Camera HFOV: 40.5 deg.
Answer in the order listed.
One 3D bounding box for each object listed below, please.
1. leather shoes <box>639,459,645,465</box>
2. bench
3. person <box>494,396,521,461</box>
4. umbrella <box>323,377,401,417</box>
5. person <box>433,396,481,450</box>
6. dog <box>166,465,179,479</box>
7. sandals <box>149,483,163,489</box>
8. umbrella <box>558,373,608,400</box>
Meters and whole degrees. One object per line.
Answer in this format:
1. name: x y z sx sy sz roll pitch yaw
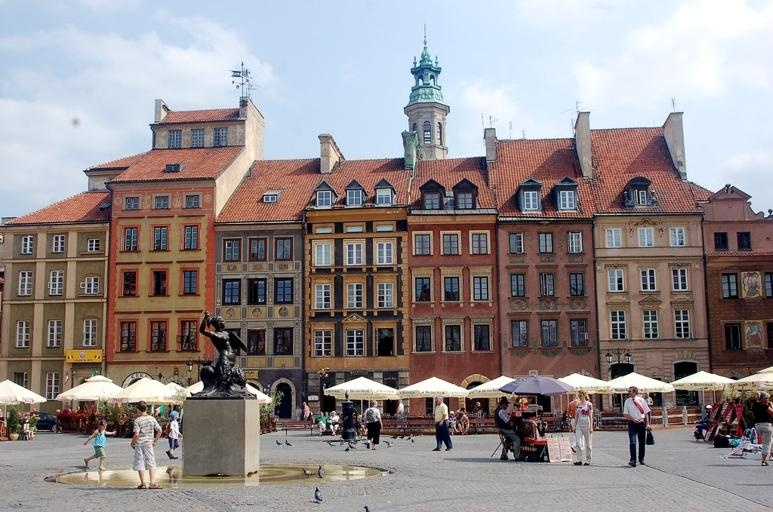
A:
1. leather shoes: 10.480 8.466 43.004 0.179 0.204 0.180 3 1 43
2. bench: 4.534 9.668 60.339 12.006 0.970 1.714 0 -25 1
3. person: 5.341 7.568 45.700 1.005 2.683 1.065 -2 -12 6
4. umbrella: -1.654 7.862 60.055 2.731 0.992 2.628 14 -30 -35
5. person: 2.697 7.942 49.053 1.267 2.653 0.880 3 -6 -27
6. dog: -8.568 8.724 42.253 0.289 0.513 0.332 -3 -13 26
7. sandals: -8.650 8.626 39.383 0.396 0.155 0.192 -2 -10 4
8. umbrella: 11.223 7.267 59.157 2.604 0.883 2.602 20 -8 -7
